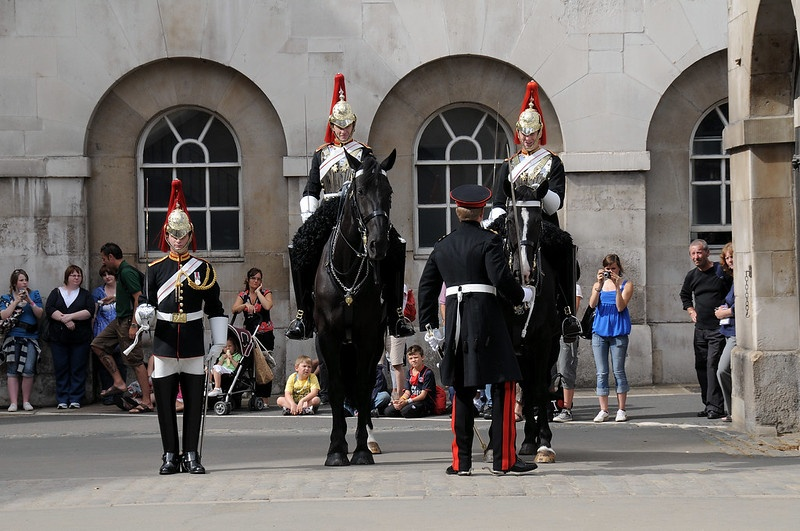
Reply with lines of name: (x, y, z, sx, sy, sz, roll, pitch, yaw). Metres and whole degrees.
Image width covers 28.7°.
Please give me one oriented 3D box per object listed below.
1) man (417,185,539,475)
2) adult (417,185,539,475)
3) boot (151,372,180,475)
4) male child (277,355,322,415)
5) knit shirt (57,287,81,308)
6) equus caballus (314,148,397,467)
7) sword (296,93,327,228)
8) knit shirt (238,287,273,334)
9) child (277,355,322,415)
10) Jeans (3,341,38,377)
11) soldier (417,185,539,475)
man: (0.941, 0.764, 19.551, 1.303, 3.685, 0.585, -2, -3, 4)
adult: (0.938, 0.764, 19.551, 1.310, 3.685, 0.585, -2, -3, 4)
boot: (-3.004, 2.024, 20.130, 0.345, 1.271, 0.282, -1, -4, -16)
male child: (-1.532, 1.865, 24.228, 0.788, 0.993, 0.845, 0, -7, -4)
knit shirt: (-5.319, 0.488, 25.141, 0.472, 0.417, 0.258, 4, -6, -27)
equus caballus: (-0.559, 0.548, 20.336, 0.932, 4.058, 1.560, -1, -4, -18)
sword: (-1.216, -1.103, 21.489, 0.237, 1.122, 0.169, 15, -19, -10)
knit shirt: (-2.338, 0.749, 25.194, 0.686, 0.889, 0.637, -2, -22, -6)
child: (-1.531, 1.857, 24.237, 0.788, 0.993, 0.845, 0, -7, -4)
Jeans: (-6.054, 1.441, 24.853, 0.504, 0.884, 0.243, 4, -19, -34)
soldier: (0.938, 0.764, 19.552, 1.301, 3.685, 0.574, -2, -3, 5)
